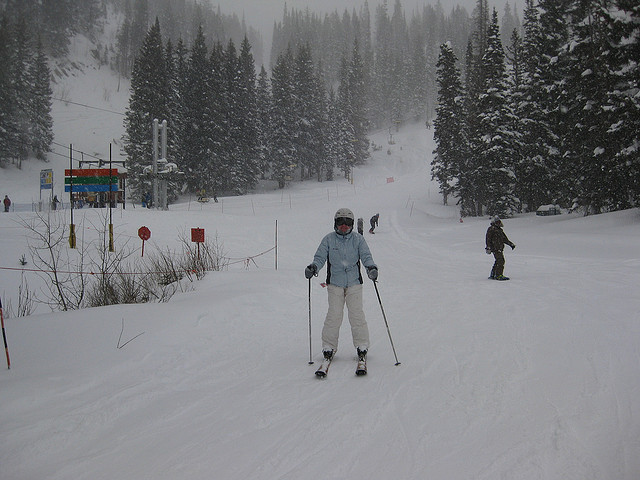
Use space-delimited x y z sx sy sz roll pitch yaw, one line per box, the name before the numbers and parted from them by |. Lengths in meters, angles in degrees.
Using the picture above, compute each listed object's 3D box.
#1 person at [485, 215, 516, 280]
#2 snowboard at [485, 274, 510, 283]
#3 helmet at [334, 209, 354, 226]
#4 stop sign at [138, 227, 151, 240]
person | 6.604 0.236 20.579 0.912 2.228 1.345 -2 5 20
snowboard | 6.519 1.315 20.149 0.567 0.195 1.223 -6 5 -8
helmet | 0.622 -0.597 13.948 0.291 0.443 0.458 0 -13 2
stop sign | -6.878 -0.276 22.013 0.421 0.537 0.114 1 -4 21
